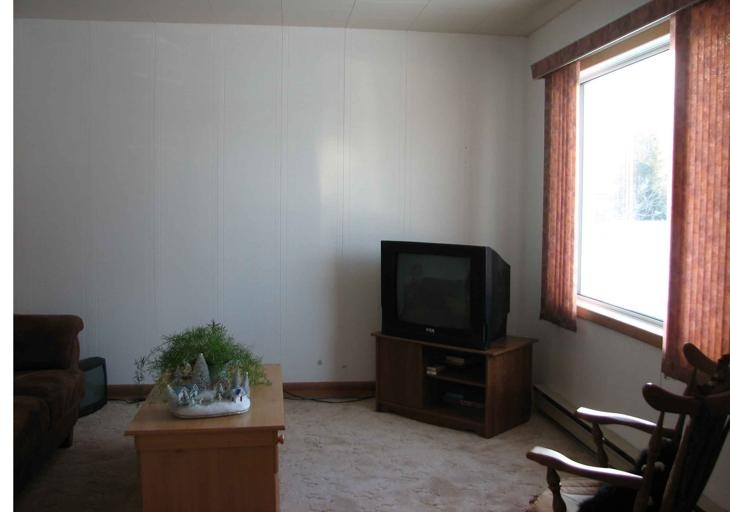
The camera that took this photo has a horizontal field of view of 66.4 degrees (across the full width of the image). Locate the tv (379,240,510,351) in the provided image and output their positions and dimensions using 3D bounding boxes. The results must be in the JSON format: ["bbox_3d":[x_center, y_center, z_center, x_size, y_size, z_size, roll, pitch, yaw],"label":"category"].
[{"bbox_3d":[0.794,0.309,5.064,1.135,0.829,0.951,1,1,26],"label":"tv"}]

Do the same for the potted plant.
[{"bbox_3d":[-1.255,0.717,4.057,0.712,0.471,0.734,0,0,-6],"label":"potted plant"}]
